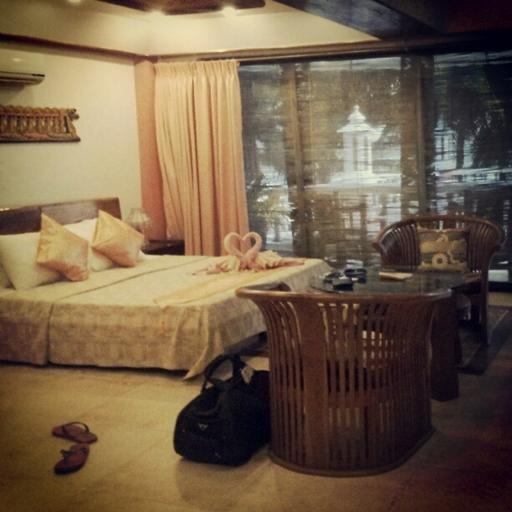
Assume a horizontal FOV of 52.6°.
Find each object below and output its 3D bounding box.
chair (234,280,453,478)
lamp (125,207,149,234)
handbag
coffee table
[{"bbox_3d":[0.412,0.425,2.294,0.802,0.577,0.799,2,7,29],"label":"chair"},{"bbox_3d":[-1.146,-0.331,4.965,0.261,0.240,0.238,-2,5,-19],"label":"lamp"},{"bbox_3d":[-0.096,0.656,2.289,0.320,0.319,0.510,2,4,21],"label":"handbag"},{"bbox_3d":[0.794,0.515,2.966,0.742,0.499,0.725,-1,-10,-7],"label":"coffee table"}]
